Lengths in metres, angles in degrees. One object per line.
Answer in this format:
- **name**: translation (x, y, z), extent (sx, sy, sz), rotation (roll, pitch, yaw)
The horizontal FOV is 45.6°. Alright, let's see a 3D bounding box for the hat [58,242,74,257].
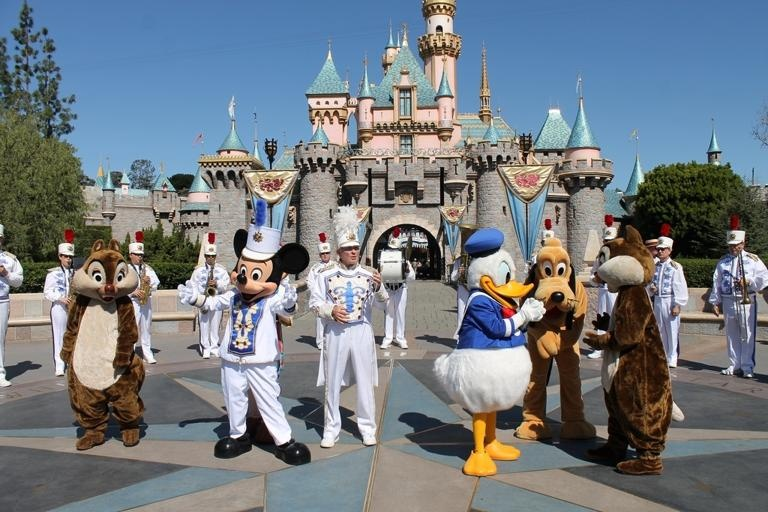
- **hat**: translation (-5.770, -0.133, 16.542), extent (0.238, 0.133, 0.319), rotation (1, -2, -30)

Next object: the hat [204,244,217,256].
- **hat**: translation (-3.347, -0.118, 17.650), extent (0.199, 0.136, 0.246), rotation (2, -1, -12)

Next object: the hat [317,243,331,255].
- **hat**: translation (-1.205, -0.149, 18.519), extent (0.243, 0.133, 0.334), rotation (1, -6, -13)

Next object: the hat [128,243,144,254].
- **hat**: translation (-4.647, -0.138, 17.051), extent (0.219, 0.125, 0.274), rotation (0, -1, -33)

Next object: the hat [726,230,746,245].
- **hat**: translation (6.317, -0.326, 16.353), extent (0.285, 0.178, 0.375), rotation (-2, -8, 43)

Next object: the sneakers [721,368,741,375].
- **sneakers**: translation (6.095, 2.030, 16.051), extent (0.369, 0.138, 0.117), rotation (-4, -7, 20)

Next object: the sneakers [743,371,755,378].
- **sneakers**: translation (6.343, 2.057, 15.870), extent (0.231, 0.094, 0.178), rotation (0, 2, 2)

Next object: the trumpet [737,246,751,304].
- **trumpet**: translation (6.391, 0.377, 16.210), extent (0.190, 0.918, 0.306), rotation (0, 1, 12)

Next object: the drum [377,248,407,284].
- **drum**: translation (0.119, 0.171, 16.375), extent (0.514, 0.602, 0.686), rotation (-1, -5, 0)

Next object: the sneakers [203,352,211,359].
- **sneakers**: translation (-3.355, 1.879, 17.266), extent (0.107, 0.129, 0.036), rotation (1, -27, -2)

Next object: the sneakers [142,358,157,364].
- **sneakers**: translation (-4.329, 1.932, 16.842), extent (0.254, 0.095, 0.084), rotation (-1, 2, 22)

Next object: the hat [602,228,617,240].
- **hat**: translation (4.226, -0.416, 17.106), extent (0.246, 0.208, 0.307), rotation (1, -26, 13)

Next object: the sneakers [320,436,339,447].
- **sneakers**: translation (-0.798, 2.729, 13.478), extent (0.292, 0.183, 0.146), rotation (-1, 2, -23)
